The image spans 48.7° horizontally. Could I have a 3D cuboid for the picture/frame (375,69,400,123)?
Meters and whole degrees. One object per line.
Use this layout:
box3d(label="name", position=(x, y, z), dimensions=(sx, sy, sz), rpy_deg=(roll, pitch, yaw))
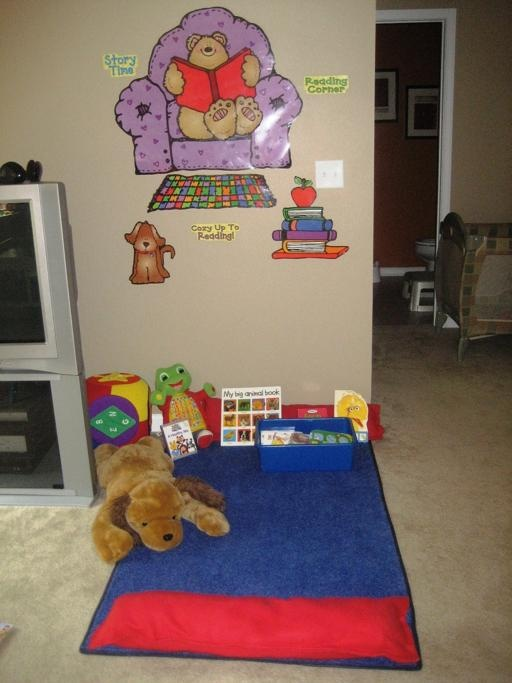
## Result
box3d(label="picture/frame", position=(1.468, -2.897, 6.693), dimensions=(0.024, 0.574, 0.427), rpy_deg=(-28, 35, -33))

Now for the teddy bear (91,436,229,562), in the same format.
box3d(label="teddy bear", position=(-0.385, 0.484, 1.937), dimensions=(0.429, 0.188, 0.622), rpy_deg=(-8, 21, -27))

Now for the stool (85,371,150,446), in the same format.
box3d(label="stool", position=(-0.593, 0.294, 2.462), dimensions=(0.313, 0.304, 0.295), rpy_deg=(1, 5, -3))

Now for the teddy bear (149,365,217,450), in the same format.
box3d(label="teddy bear", position=(-0.315, 0.284, 2.511), dimensions=(0.310, 0.352, 0.206), rpy_deg=(-10, -2, -18))

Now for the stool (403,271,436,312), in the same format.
box3d(label="stool", position=(1.506, -0.478, 5.284), dimensions=(0.375, 0.270, 0.515), rpy_deg=(1, 18, 3))
